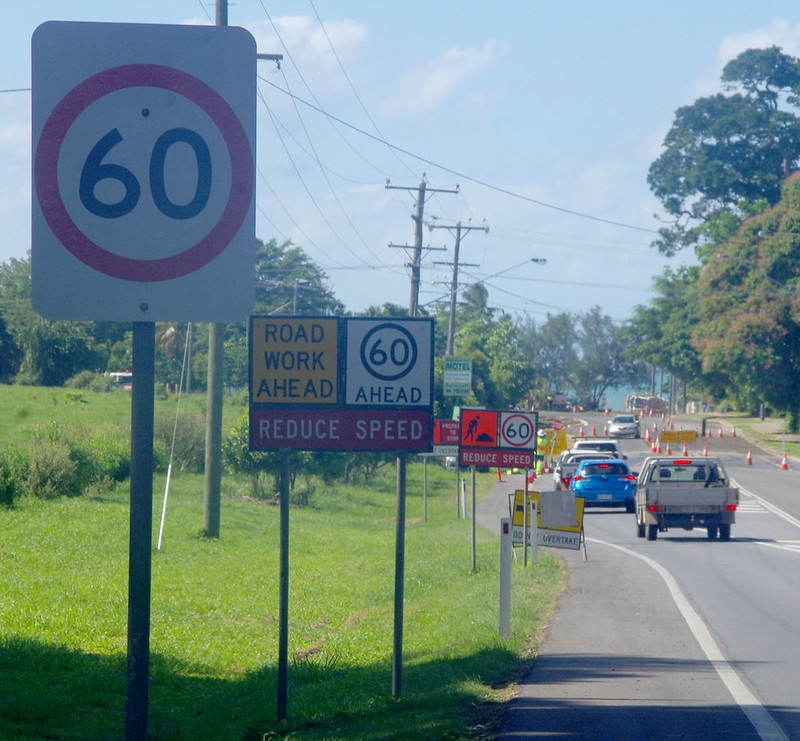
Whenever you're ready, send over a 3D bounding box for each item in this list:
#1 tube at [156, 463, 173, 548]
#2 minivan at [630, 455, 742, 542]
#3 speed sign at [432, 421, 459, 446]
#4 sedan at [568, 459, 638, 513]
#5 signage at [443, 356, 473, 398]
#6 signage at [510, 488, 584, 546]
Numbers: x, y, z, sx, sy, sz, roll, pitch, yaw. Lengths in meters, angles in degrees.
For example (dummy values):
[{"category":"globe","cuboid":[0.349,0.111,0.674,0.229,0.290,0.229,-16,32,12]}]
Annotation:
[{"category":"tube","cuboid":[-4.073,2.367,28.963,0.087,1.584,0.104,16,-22,-31]},{"category":"minivan","cuboid":[5.158,2.371,30.786,1.718,1.614,1.646,3,-3,9]},{"category":"speed sign","cuboid":[0.829,1.174,31.007,0.536,0.668,0.317,-1,6,-10]},{"category":"sedan","cuboid":[4.528,2.519,37.684,1.054,1.177,2.040,0,4,2]},{"category":"signage","cuboid":[1.527,0.175,44.453,0.682,1.017,1.025,4,-3,-2]},{"category":"signage","cuboid":[2.070,2.122,23.909,0.772,0.746,0.269,1,-3,7]}]
